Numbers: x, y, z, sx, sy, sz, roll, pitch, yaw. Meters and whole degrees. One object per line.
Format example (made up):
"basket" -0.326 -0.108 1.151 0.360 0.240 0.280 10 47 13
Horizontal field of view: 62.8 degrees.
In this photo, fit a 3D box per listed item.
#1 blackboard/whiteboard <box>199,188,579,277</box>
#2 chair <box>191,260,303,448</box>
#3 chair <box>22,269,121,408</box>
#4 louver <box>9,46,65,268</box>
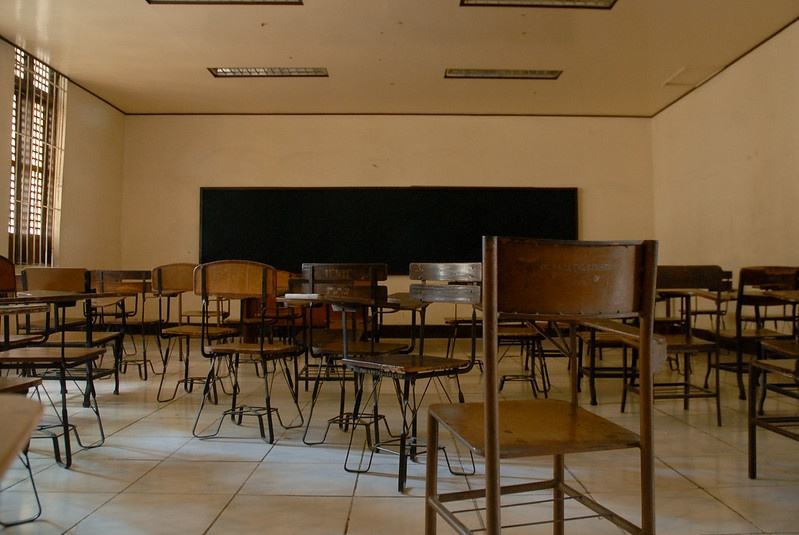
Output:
"blackboard/whiteboard" -0.197 -0.559 9.628 5.661 1.195 0.149 0 0 5
"chair" -1.191 0.675 5.311 0.954 1.280 0.927 -5 -10 36
"chair" -2.747 0.548 5.969 0.716 0.994 0.723 -16 7 36
"louver" -4.472 -1.291 8.065 0.250 2.077 0.892 -1 0 2
